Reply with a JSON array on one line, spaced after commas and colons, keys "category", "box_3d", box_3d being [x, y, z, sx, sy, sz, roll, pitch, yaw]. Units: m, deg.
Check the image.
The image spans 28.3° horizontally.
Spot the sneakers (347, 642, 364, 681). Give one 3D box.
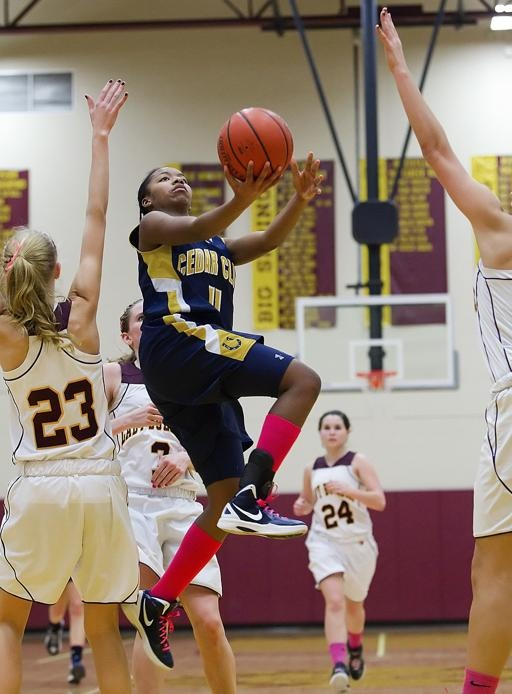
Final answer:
[{"category": "sneakers", "box_3d": [0.485, 1.538, 4.963, 0.078, 0.159, 0.174, -2, -8, 3]}]

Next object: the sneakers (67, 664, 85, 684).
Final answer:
[{"category": "sneakers", "box_3d": [-0.908, 1.633, 5.061, 0.049, 0.091, 0.137, 2, 0, 3]}]

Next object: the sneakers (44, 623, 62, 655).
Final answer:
[{"category": "sneakers", "box_3d": [-1.173, 1.675, 5.881, 0.097, 0.114, 0.280, 2, -6, -9]}]

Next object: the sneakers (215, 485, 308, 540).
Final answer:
[{"category": "sneakers", "box_3d": [0.002, 0.490, 2.917, 0.327, 0.185, 0.109, 3, -33, 0]}]

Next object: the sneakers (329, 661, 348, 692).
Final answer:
[{"category": "sneakers", "box_3d": [0.363, 1.458, 4.479, 0.062, 0.066, 0.147, 3, -31, 5]}]

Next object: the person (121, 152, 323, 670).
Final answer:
[{"category": "person", "box_3d": [-0.095, 0.187, 3.172, 0.565, 1.650, 0.706, 2, -9, -26]}]
